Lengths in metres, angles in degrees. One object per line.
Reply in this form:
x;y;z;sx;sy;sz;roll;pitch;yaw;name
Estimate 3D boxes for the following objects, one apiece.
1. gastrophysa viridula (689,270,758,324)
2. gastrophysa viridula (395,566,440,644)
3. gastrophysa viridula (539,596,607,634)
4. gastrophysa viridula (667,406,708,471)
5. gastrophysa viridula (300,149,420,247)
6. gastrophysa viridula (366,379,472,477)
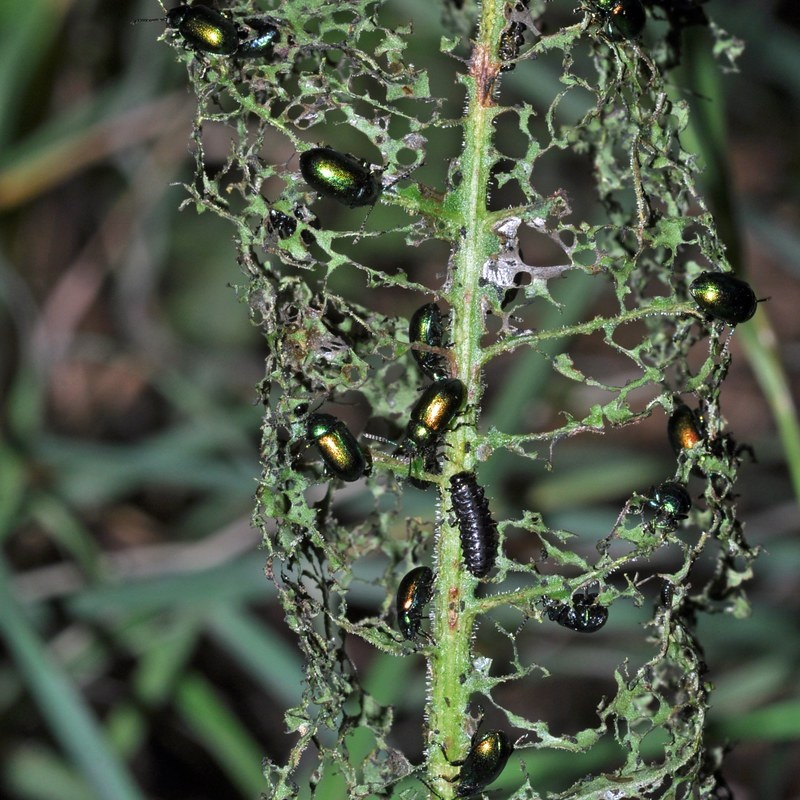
0.608;-0.186;1.853;0.128;0.104;0.063;-1;18;-1;gastrophysa viridula
0.015;0.416;1.992;0.058;0.123;0.133;8;-2;-28;gastrophysa viridula
0.344;0.410;1.932;0.119;0.070;0.040;13;36;7;gastrophysa viridula
0.543;0.068;1.853;0.102;0.107;0.038;-2;-5;5;gastrophysa viridula
-0.076;-0.423;1.876;0.207;0.108;0.092;-8;19;-26;gastrophysa viridula
0.058;0.064;2.011;0.142;0.260;0.262;-1;17;-1;gastrophysa viridula
